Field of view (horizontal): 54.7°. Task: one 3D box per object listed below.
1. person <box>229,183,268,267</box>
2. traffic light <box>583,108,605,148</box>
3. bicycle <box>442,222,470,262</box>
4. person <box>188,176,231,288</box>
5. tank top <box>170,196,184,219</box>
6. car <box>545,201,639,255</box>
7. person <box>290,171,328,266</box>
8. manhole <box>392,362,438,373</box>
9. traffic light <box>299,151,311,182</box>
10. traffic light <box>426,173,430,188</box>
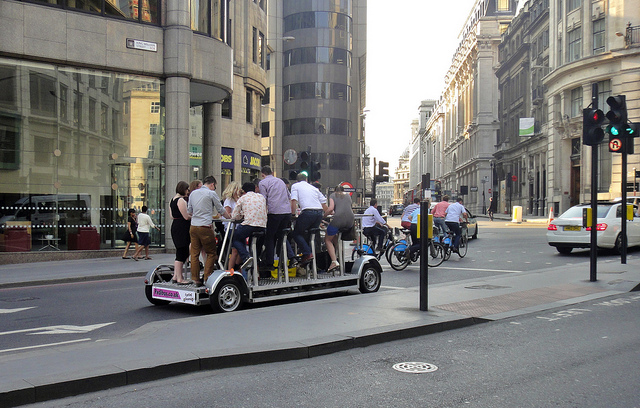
[{"bbox_3d":[-1.718,0.510,15.316,0.634,1.993,0.984,8,13,44],"label":"person"},{"bbox_3d":[7.915,-2.227,17.944,0.583,1.094,0.604,3,10,23],"label":"traffic light"},{"bbox_3d":[5.242,1.548,24.127,0.675,1.031,1.584,0,-5,25],"label":"bicycle"},{"bbox_3d":[-2.845,0.672,15.309,1.010,2.573,0.902,8,13,43],"label":"person"},{"bbox_3d":[-3.647,0.116,15.891,0.410,0.817,0.553,0,-1,-20],"label":"tank top"},{"bbox_3d":[10.581,1.019,23.869,4.631,1.508,1.970,-2,1,-42],"label":"car"},{"bbox_3d":[-0.337,0.534,16.200,0.883,2.132,0.512,-1,9,-2],"label":"person"},{"bbox_3d":[1.796,3.071,11.721,0.828,0.039,0.405,-1,9,0],"label":"manhole"},{"bbox_3d":[-0.630,-1.582,26.822,0.443,1.297,1.215,-1,9,-2],"label":"traffic light"},{"bbox_3d":[3.517,-0.758,20.315,0.055,0.444,0.471,2,9,16],"label":"traffic light"}]
